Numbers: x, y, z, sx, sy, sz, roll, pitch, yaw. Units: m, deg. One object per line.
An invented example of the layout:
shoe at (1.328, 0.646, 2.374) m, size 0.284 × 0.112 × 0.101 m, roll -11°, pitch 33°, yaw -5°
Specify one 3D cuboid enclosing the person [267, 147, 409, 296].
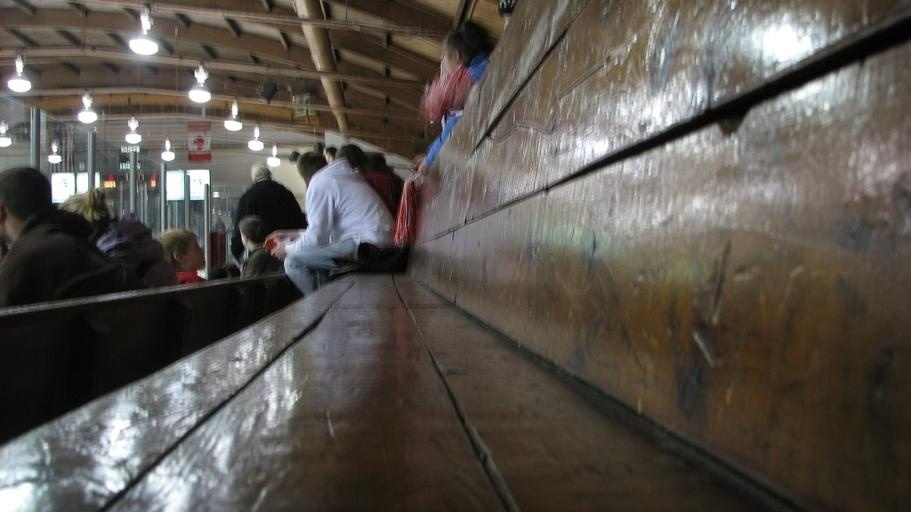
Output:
person at (-0.769, -0.140, 3.691) m, size 0.938 × 1.386 × 0.636 m, roll -2°, pitch -12°, yaw 4°
